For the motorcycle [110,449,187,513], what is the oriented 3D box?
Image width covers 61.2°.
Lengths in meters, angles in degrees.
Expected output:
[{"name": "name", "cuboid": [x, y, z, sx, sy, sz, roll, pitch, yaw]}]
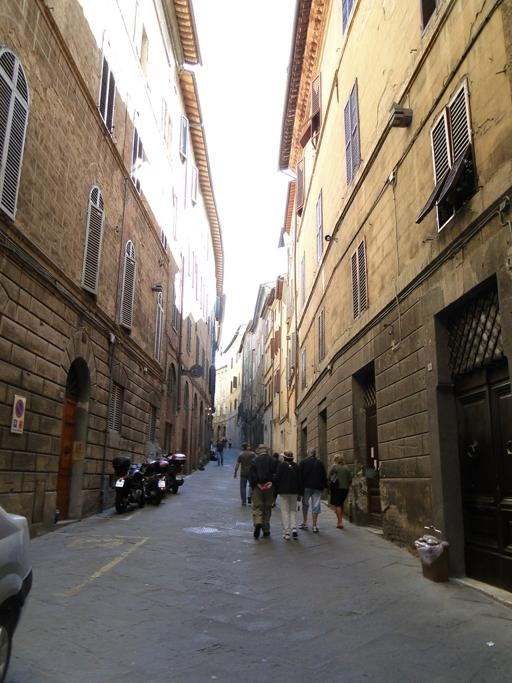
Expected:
[{"name": "motorcycle", "cuboid": [-3.199, 3.982, 12.025, 0.892, 1.913, 2.436, 2, -8, -2]}]

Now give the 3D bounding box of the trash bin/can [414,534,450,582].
[{"name": "trash bin/can", "cuboid": [2.076, 2.582, 5.171, 0.320, 0.701, 0.386, 6, -14, -28]}]

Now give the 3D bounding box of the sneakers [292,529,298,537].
[{"name": "sneakers", "cuboid": [0.747, 3.732, 8.241, 0.076, 0.144, 0.148, 3, -14, -10]}]

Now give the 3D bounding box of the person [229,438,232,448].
[{"name": "person", "cuboid": [-4.309, 17.741, 73.611, 0.776, 1.492, 2.632, 2, -16, -5]}]
